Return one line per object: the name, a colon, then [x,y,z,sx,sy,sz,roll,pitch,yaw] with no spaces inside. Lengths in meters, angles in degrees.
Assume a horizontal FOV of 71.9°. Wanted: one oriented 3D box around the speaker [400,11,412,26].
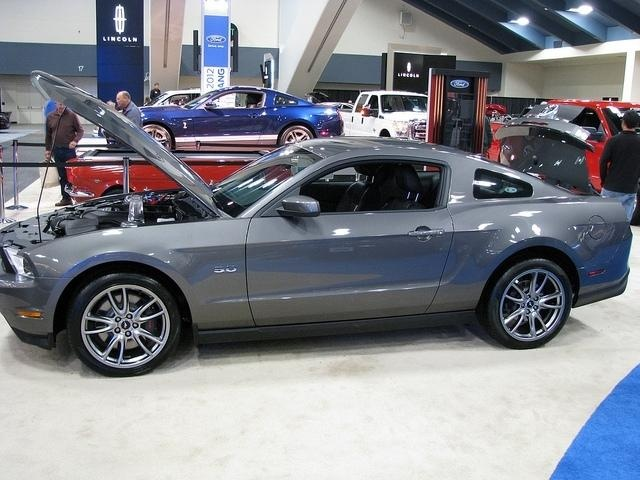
speaker: [6.443,-17.251,33.813,1.280,0.939,0.420,-4,13,-18]
